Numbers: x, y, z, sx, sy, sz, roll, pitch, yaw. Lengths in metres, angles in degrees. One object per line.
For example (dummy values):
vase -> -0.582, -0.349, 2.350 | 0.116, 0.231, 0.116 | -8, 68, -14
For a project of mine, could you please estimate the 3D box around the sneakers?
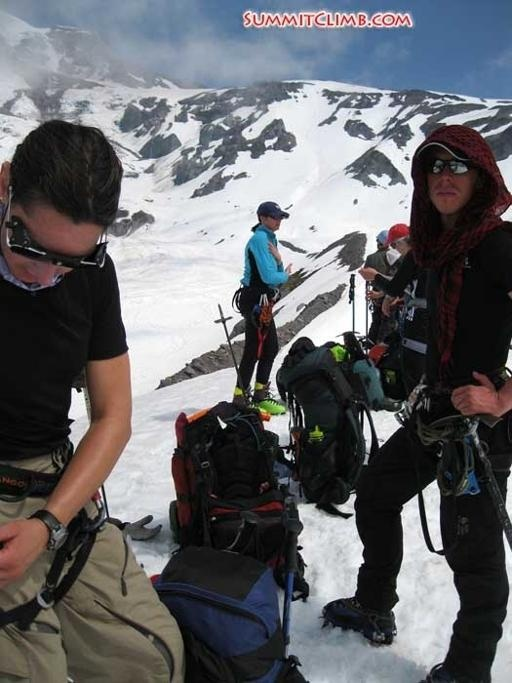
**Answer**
sneakers -> 0.572, 1.572, 3.683 | 0.479, 0.188, 0.174 | 13, -5, 41

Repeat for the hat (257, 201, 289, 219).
hat -> 0.180, -1.443, 7.166 | 0.411, 0.187, 0.241 | 5, 21, 5
